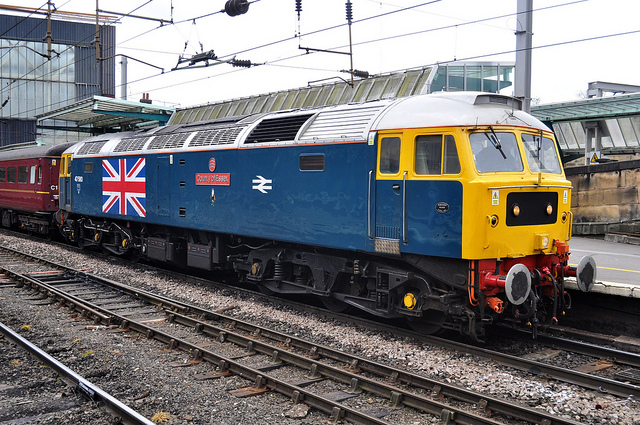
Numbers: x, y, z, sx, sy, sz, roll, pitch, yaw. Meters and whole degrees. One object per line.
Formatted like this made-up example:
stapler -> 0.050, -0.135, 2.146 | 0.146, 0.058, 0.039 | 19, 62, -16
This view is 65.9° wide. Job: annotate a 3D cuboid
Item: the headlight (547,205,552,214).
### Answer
headlight -> 4.630, -0.078, 9.979 | 0.030, 0.125, 0.130 | 5, 6, 38
